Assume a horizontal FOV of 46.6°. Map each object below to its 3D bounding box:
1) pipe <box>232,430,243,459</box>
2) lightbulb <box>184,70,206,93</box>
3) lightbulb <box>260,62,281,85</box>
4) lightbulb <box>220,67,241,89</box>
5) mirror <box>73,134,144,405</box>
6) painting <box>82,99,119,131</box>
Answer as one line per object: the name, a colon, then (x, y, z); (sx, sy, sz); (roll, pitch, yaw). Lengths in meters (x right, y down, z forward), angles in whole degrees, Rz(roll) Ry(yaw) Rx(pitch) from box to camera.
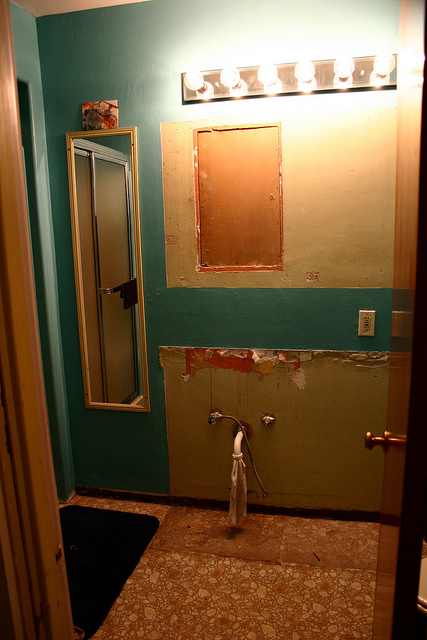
pipe: (0.107, 0.509, 2.058); (0.028, 0.038, 0.109); (-3, 36, 18)
lightbulb: (-0.070, -0.924, 1.916); (0.071, 0.079, 0.089); (17, 20, 6)
lightbulb: (0.212, -0.916, 1.844); (0.060, 0.077, 0.064); (2, 20, 15)
lightbulb: (0.062, -0.936, 1.911); (0.079, 0.066, 0.086); (0, 9, 9)
mirror: (-0.466, -0.202, 2.225); (0.285, 1.192, 0.054); (1, 8, 16)
painting: (-0.472, -0.873, 2.101); (0.126, 0.101, 0.007); (2, 5, 16)
